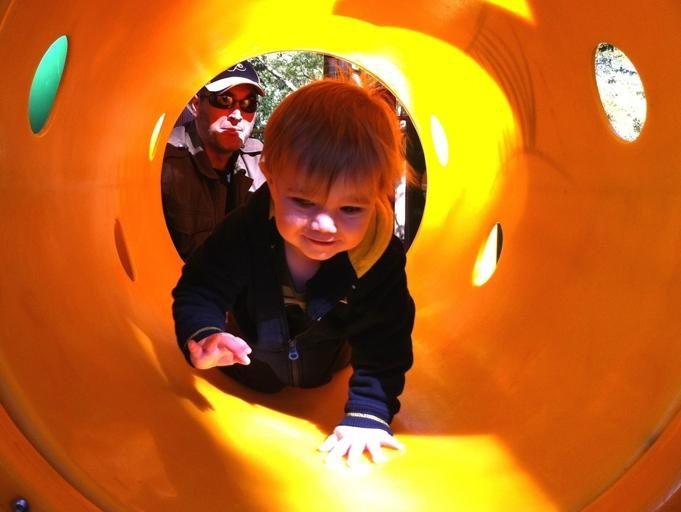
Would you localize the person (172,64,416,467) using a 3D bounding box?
[{"bbox_3d":[-0.043,-0.035,1.499,0.525,0.948,0.704,-2,38,-7],"label":"person"}]
